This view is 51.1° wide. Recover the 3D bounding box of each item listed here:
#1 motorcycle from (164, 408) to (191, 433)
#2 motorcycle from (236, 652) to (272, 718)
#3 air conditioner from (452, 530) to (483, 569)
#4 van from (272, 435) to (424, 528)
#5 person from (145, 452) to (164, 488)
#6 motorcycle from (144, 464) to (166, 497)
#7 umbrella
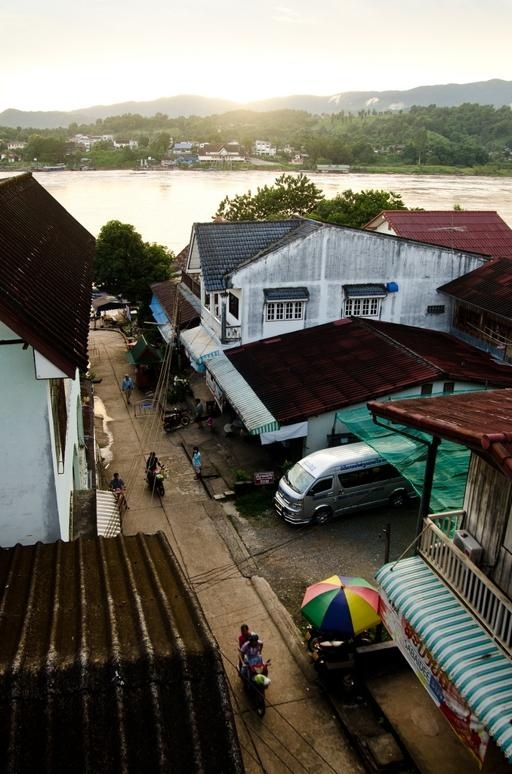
[{"bbox_3d":[-3.963,1.722,26.926,1.454,0.961,0.879,-14,34,-4],"label":"motorcycle"},{"bbox_3d":[0.005,6.237,11.235,0.486,0.762,1.195,-7,34,-12],"label":"motorcycle"},{"bbox_3d":[3.315,2.565,8.420,0.169,0.430,0.483,-22,25,-1],"label":"air conditioner"},{"bbox_3d":[3.158,3.176,19.019,4.972,2.086,2.237,-6,27,-12],"label":"van"},{"bbox_3d":[-4.004,3.338,21.091,0.761,0.957,1.649,-3,16,-14],"label":"person"},{"bbox_3d":[-3.904,3.613,20.902,0.611,0.721,1.173,-3,28,-14],"label":"motorcycle"},{"bbox_3d":[1.991,4.817,12.318,1.819,0.710,1.876,1,18,26],"label":"umbrella"}]
